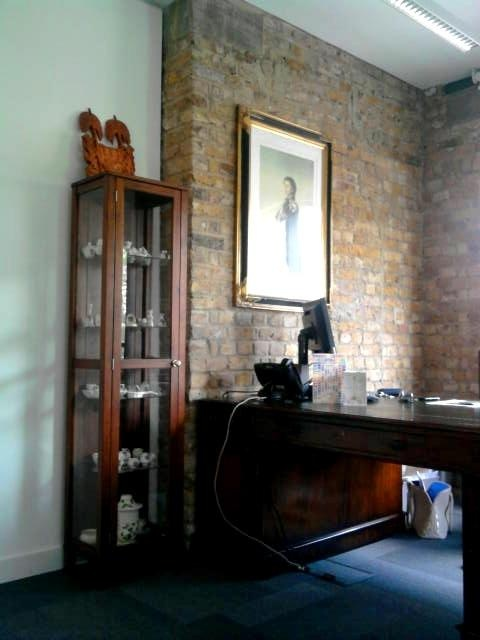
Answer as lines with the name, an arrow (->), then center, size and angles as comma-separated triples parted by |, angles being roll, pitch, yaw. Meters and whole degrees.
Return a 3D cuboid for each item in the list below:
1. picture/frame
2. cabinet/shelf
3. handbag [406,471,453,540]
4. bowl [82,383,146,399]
picture/frame -> 0.314, -0.713, 3.705 | 0.970, 1.317, 0.087 | 7, -8, -44
cabinet/shelf -> -0.559, 0.258, 2.784 | 0.637, 1.971, 0.408 | 3, -6, -19
handbag -> 1.222, 1.198, 3.510 | 0.245, 0.340, 0.240 | 5, 5, -10
bowl -> -0.613, 0.352, 2.726 | 0.332, 0.079, 0.159 | 3, -6, -15
